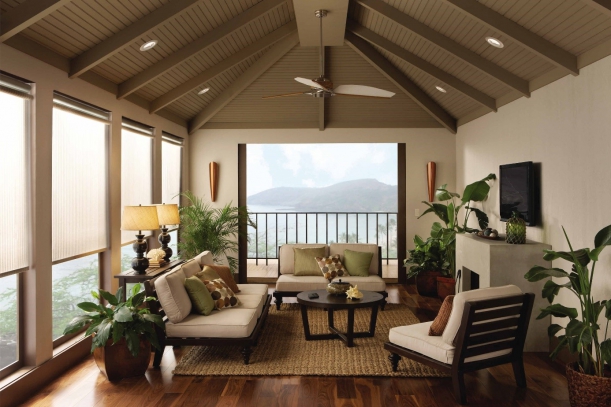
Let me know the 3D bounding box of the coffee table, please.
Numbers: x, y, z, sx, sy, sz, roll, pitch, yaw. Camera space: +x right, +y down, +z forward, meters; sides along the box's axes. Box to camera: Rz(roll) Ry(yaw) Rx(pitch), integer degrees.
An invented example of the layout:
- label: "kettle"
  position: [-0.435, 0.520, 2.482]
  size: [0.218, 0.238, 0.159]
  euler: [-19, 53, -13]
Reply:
- label: "coffee table"
  position: [0.471, 1.440, 5.450]
  size: [0.821, 0.383, 0.795]
  euler: [0, 0, -18]

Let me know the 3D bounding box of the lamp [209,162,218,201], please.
- label: "lamp"
  position: [-1.823, -0.433, 8.193]
  size: [0.185, 0.806, 0.117]
  euler: [-2, 8, -13]

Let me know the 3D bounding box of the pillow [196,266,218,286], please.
- label: "pillow"
  position: [-1.305, 0.950, 5.412]
  size: [0.146, 0.064, 0.215]
  euler: [32, 4, -7]

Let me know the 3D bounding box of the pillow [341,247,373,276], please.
- label: "pillow"
  position: [0.883, 0.994, 6.974]
  size: [0.688, 0.336, 0.546]
  euler: [3, 43, 9]

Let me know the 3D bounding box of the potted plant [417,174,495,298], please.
- label: "potted plant"
  position: [2.523, 0.438, 7.469]
  size: [1.577, 2.054, 1.923]
  euler: [2, 1, 25]

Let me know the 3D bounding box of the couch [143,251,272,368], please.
- label: "couch"
  position: [-1.192, 1.348, 5.820]
  size: [1.323, 1.049, 2.266]
  euler: [1, 1, 1]

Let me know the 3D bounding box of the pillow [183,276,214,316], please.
- label: "pillow"
  position: [-1.374, 1.249, 5.192]
  size: [0.336, 0.485, 0.616]
  euler: [0, -28, -22]

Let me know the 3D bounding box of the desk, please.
- label: "desk"
  position: [-2.015, 1.196, 5.809]
  size: [0.495, 0.598, 1.230]
  euler: [1, 1, 16]

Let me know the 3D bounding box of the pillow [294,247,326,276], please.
- label: "pillow"
  position: [0.071, 0.979, 6.881]
  size: [0.436, 0.383, 0.149]
  euler: [1, -29, -1]

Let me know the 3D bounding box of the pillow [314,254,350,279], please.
- label: "pillow"
  position: [0.454, 1.044, 6.823]
  size: [0.458, 0.317, 0.436]
  euler: [-3, 8, -24]

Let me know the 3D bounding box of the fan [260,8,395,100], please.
- label: "fan"
  position: [0.482, -1.950, 5.586]
  size: [1.583, 1.011, 1.544]
  euler: [3, -4, -33]

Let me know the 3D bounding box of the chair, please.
- label: "chair"
  position: [1.640, 1.322, 4.656]
  size: [1.230, 1.124, 1.258]
  euler: [1, -1, -26]

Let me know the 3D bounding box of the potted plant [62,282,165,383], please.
- label: "potted plant"
  position: [-2.042, 1.450, 4.568]
  size: [0.810, 0.970, 0.833]
  euler: [2, 8, 14]
